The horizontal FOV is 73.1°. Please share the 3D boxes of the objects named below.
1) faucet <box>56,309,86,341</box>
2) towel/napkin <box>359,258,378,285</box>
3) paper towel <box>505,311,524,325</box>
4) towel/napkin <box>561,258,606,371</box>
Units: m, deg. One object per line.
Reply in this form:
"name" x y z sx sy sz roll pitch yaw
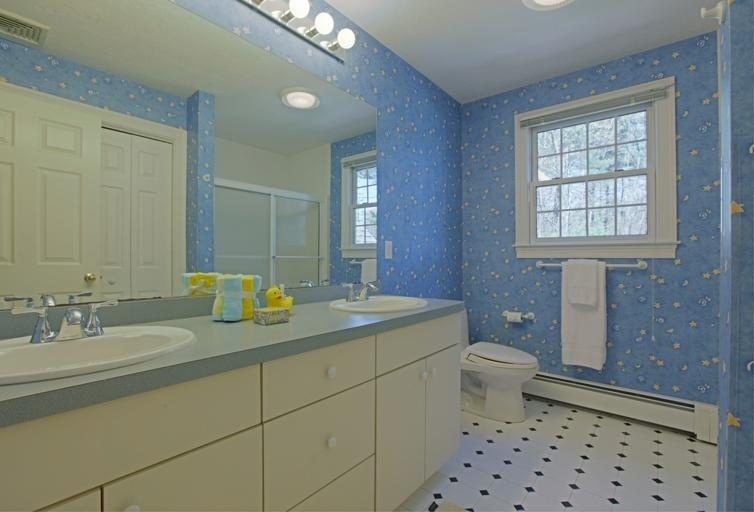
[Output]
"faucet" -1.274 0.291 2.131 0.129 0.140 0.077 3 0 -43
"towel/napkin" -0.064 0.097 3.339 0.169 0.196 0.114 1 4 11
"paper towel" 1.075 0.477 4.047 0.193 0.105 0.111 -4 -1 36
"towel/napkin" 1.483 0.412 3.707 0.320 0.752 0.262 4 15 20
